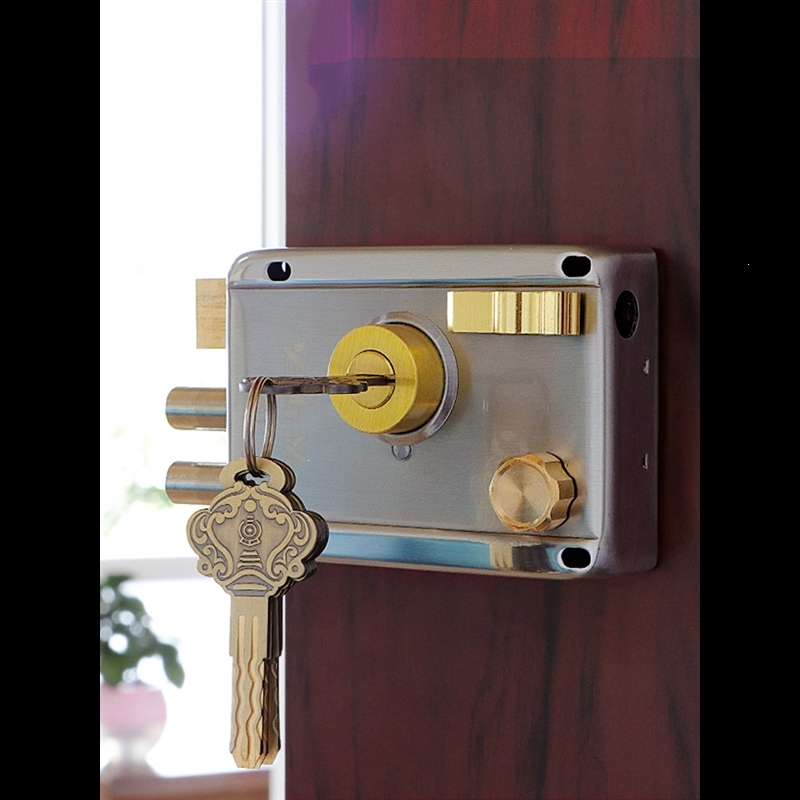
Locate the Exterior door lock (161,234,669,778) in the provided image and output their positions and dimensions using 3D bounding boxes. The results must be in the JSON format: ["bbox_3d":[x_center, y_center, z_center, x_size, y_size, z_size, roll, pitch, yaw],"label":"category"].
[{"bbox_3d":[0.018,0.050,0.576,0.257,0.302,0.075,0,0,30],"label":"Exterior door lock"}]

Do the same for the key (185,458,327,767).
[{"bbox_3d":[-0.067,0.092,0.540,0.039,0.136,0.063,-6,16,-41],"label":"key"}]

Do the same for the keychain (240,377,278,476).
[{"bbox_3d":[-0.064,0.012,0.541,0.008,0.050,0.040,2,-5,10],"label":"keychain"}]

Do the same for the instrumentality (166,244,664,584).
[{"bbox_3d":[0.016,0.007,0.558,0.151,0.121,0.043,0,-1,21],"label":"instrumentality"}]
